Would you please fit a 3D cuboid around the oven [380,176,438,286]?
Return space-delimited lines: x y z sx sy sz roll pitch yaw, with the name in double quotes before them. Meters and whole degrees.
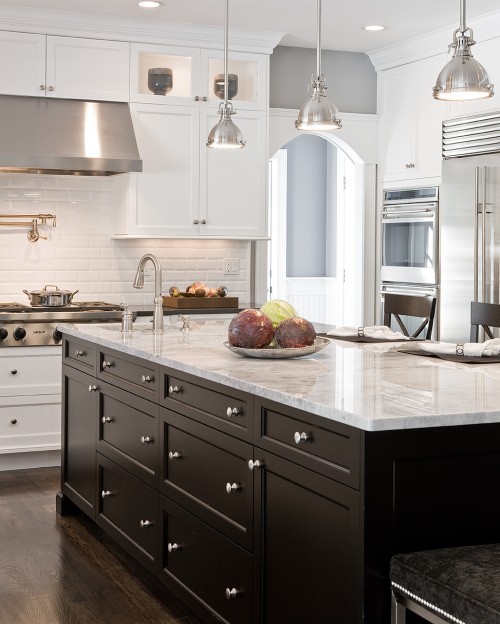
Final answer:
"oven" 1.352 -0.640 4.949 0.259 0.830 0.686 -13 12 -26

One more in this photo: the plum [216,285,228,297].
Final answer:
"plum" -0.232 -0.171 4.610 0.066 0.077 0.087 1 -3 22

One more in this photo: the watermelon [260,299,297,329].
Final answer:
"watermelon" 0.100 0.004 2.050 0.118 0.096 0.090 14 3 18

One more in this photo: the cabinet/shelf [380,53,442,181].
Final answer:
"cabinet/shelf" 1.371 -1.657 5.036 0.531 0.950 0.797 -2 4 -28

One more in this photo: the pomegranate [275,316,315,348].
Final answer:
"pomegranate" 0.142 0.072 1.893 0.104 0.056 0.104 3 33 24

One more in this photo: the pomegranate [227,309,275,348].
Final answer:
"pomegranate" 0.009 0.055 1.942 0.108 0.132 0.124 -4 10 -42

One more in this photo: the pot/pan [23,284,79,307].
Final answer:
"pot/pan" -1.475 -0.113 4.244 0.299 0.133 0.516 -12 11 -21
